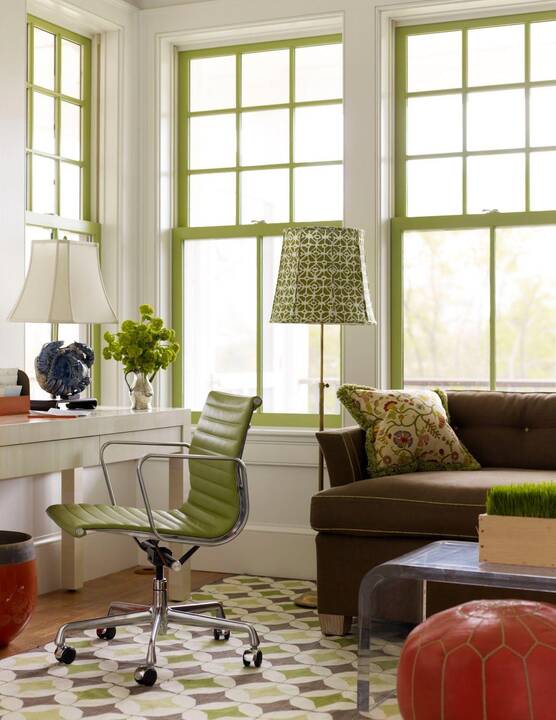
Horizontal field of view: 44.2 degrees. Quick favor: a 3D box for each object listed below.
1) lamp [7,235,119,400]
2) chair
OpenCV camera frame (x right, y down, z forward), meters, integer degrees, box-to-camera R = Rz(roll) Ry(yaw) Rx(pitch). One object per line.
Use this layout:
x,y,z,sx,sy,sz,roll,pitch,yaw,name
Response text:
-0.894,-0.295,2.945,0.383,0.531,0.385,2,1,-10,lamp
-0.429,0.563,2.326,0.659,0.836,0.657,2,-6,-25,chair
